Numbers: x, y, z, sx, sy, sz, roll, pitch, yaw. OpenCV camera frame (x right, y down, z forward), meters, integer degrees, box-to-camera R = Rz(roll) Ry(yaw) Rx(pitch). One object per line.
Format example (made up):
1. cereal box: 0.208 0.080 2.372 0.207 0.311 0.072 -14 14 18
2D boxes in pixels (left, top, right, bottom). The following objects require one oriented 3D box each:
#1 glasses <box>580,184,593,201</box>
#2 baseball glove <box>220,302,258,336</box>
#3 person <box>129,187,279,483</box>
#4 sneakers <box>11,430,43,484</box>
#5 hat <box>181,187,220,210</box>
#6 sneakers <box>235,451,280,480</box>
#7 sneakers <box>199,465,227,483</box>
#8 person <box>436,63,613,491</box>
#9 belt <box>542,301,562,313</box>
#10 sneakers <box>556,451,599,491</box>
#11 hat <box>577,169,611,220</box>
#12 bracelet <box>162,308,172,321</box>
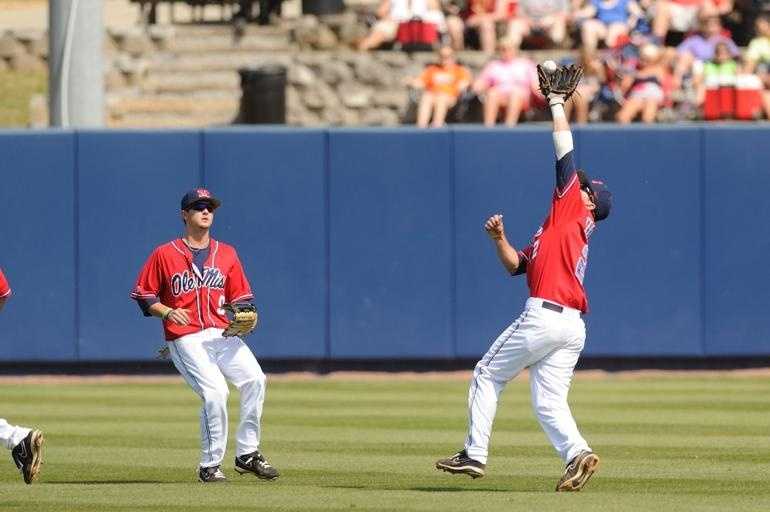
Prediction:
1. glasses: 2.029 -0.608 18.306 0.121 0.138 0.154 -4 4 -9
2. baseball glove: -1.454 0.693 18.443 0.357 0.299 0.391 -9 -9 -3
3. person: -1.776 0.831 18.475 1.301 2.947 0.570 -1 6 -5
4. sneakers: -3.528 2.030 18.103 0.282 0.615 0.211 -10 19 -10
5. hat: -1.932 -0.565 18.567 0.369 0.198 0.275 3 6 33
6. sneakers: -1.290 2.162 18.499 0.478 0.245 0.212 6 12 12
7. sneakers: -1.723 2.250 18.377 0.262 0.117 0.137 -2 -3 41
8. person: 1.472 0.240 18.234 1.500 4.259 1.032 0 6 7
9. belt: 1.645 0.532 17.982 0.199 0.104 0.020 0 6 6
10. sneakers: 1.906 2.180 18.017 0.147 0.396 0.182 44 1 -25
11. hat: 2.127 -0.576 18.447 0.287 0.552 0.327 -5 1 8
12. bracelet: -2.175 0.621 18.284 0.040 0.107 0.094 22 6 -8
